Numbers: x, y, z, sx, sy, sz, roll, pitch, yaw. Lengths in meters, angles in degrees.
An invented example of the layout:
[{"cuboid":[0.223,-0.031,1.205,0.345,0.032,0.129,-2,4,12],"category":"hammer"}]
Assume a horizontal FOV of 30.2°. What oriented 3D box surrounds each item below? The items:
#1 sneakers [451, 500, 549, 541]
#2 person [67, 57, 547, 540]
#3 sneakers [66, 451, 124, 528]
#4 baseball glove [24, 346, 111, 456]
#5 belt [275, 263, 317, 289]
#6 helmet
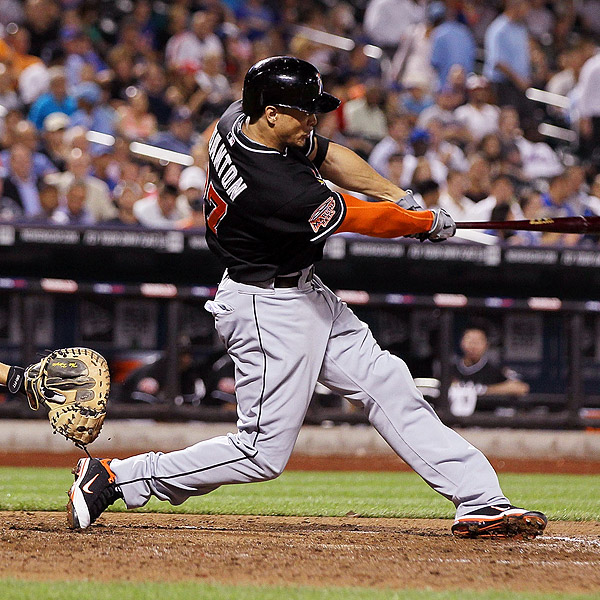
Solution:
[{"cuboid":[0.825,0.928,4.668,0.482,0.152,0.144,-2,-20,-4],"category":"sneakers"},{"cuboid":[0.026,0.013,4.630,1.830,1.723,0.512,2,-1,-10],"category":"person"},{"cuboid":[-0.871,0.806,4.725,0.222,0.363,0.130,7,32,-16],"category":"sneakers"},{"cuboid":[-0.987,0.432,4.734,0.442,0.409,0.218,-7,0,-8],"category":"baseball glove"},{"cuboid":[-0.007,-0.095,4.617,0.110,0.096,0.126,3,12,22],"category":"belt"},{"cuboid":[-0.022,-0.873,4.514,0.401,0.160,0.247,0,18,2],"category":"helmet"}]
